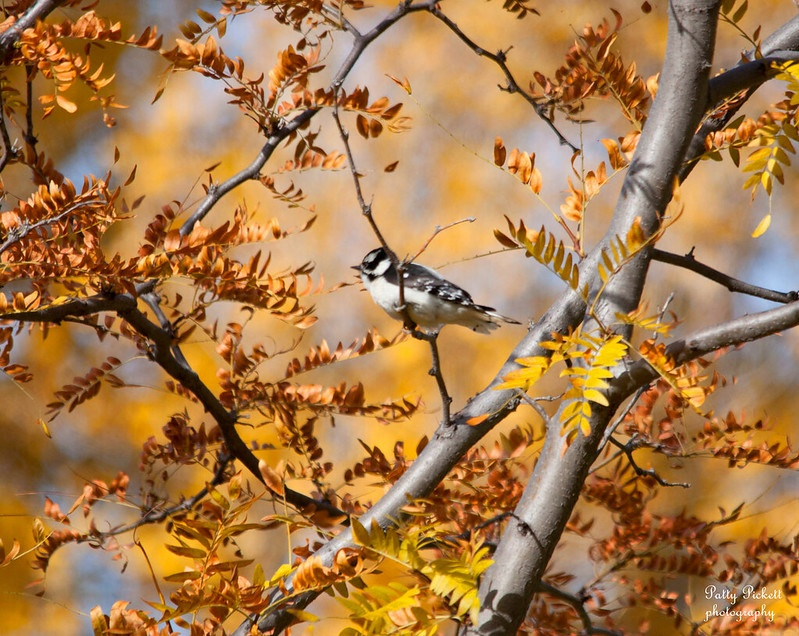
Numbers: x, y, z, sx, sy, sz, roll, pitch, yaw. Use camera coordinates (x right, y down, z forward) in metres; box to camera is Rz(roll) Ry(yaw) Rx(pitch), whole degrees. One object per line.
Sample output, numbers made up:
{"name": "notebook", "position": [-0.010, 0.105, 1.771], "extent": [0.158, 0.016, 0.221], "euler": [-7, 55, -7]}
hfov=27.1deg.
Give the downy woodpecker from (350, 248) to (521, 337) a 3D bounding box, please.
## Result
{"name": "downy woodpecker", "position": [0.221, -0.178, 11.356], "extent": [1.192, 0.578, 0.366], "euler": [5, -16, -10]}
